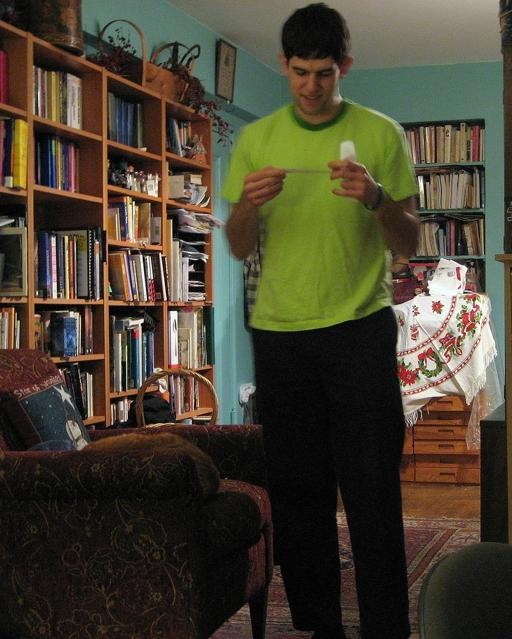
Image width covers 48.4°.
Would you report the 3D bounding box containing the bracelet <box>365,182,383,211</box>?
[{"bbox_3d":[0.227,-0.231,1.078,0.014,0.042,0.045,24,41,8],"label":"bracelet"}]
